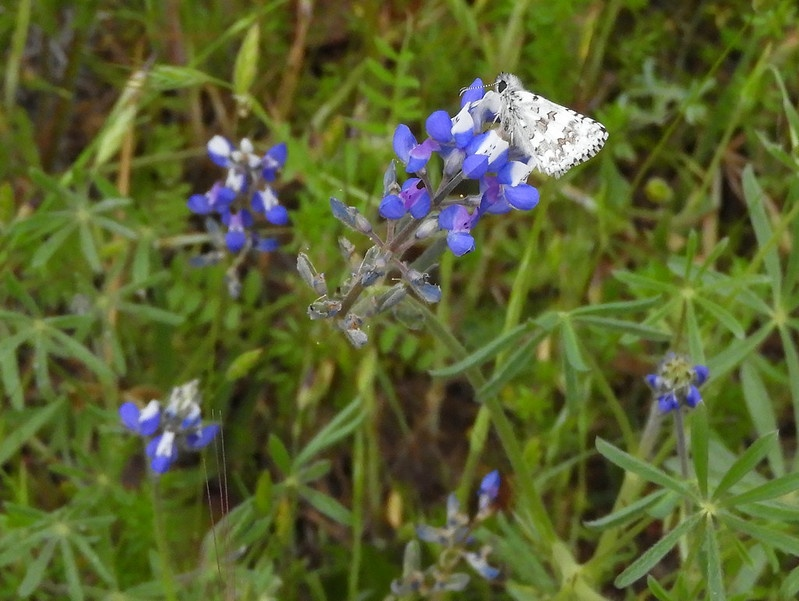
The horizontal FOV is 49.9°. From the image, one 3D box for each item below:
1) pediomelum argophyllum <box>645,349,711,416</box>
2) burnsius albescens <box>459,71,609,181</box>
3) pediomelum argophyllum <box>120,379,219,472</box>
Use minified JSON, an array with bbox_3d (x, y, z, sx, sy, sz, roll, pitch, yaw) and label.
[{"bbox_3d":[0.735,0.215,2.248,0.104,0.189,0.115,0,14,2],"label":"pediomelum argophyllum"},{"bbox_3d":[0.364,-0.470,2.326,0.331,0.359,0.282,-12,29,-31],"label":"burnsius albescens"},{"bbox_3d":[-0.641,0.333,2.396,0.228,0.203,0.224,-37,70,-26],"label":"pediomelum argophyllum"}]
